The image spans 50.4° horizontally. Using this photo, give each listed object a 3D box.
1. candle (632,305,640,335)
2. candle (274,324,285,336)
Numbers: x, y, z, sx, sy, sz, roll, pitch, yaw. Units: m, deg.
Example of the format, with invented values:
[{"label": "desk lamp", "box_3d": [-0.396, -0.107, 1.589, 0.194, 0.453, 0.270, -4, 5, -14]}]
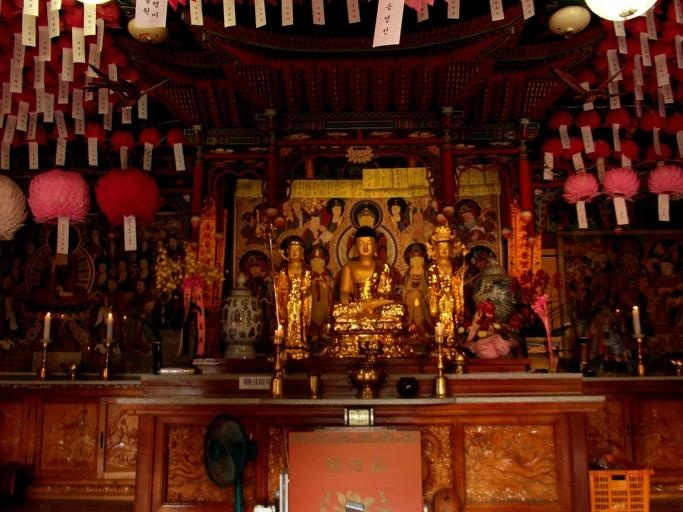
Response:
[{"label": "candle", "box_3d": [2.412, 0.528, 5.930, 0.071, 0.242, 0.151, 4, 5, 17]}, {"label": "candle", "box_3d": [-0.451, 0.512, 5.076, 0.077, 0.089, 0.079, -6, -17, 24]}]
